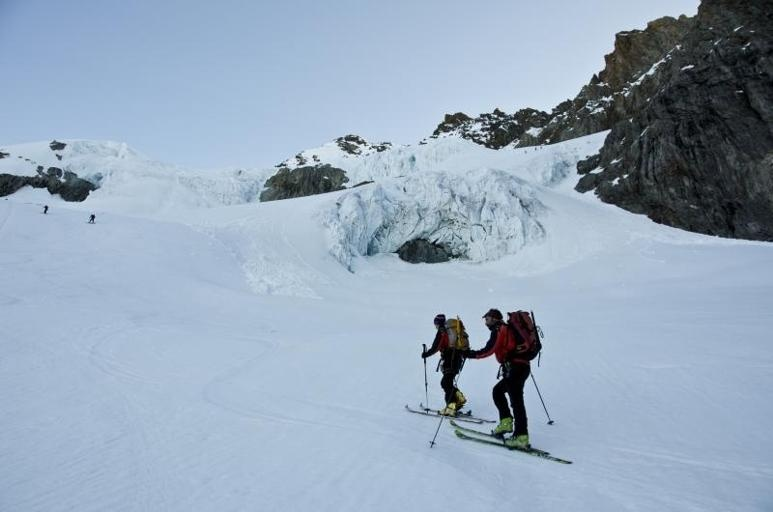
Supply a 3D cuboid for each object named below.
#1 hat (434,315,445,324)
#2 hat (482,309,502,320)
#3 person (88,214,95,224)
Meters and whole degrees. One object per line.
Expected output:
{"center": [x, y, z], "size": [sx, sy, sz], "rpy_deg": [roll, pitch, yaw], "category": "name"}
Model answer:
{"center": [1.887, 2.239, 21.075], "size": [0.393, 0.376, 0.312], "rpy_deg": [-4, 1, -42], "category": "hat"}
{"center": [3.635, 1.979, 20.219], "size": [0.576, 0.315, 0.391], "rpy_deg": [11, 2, 22], "category": "hat"}
{"center": [-15.867, -1.998, 32.042], "size": [0.366, 0.461, 1.087], "rpy_deg": [-3, 7, -26], "category": "person"}
